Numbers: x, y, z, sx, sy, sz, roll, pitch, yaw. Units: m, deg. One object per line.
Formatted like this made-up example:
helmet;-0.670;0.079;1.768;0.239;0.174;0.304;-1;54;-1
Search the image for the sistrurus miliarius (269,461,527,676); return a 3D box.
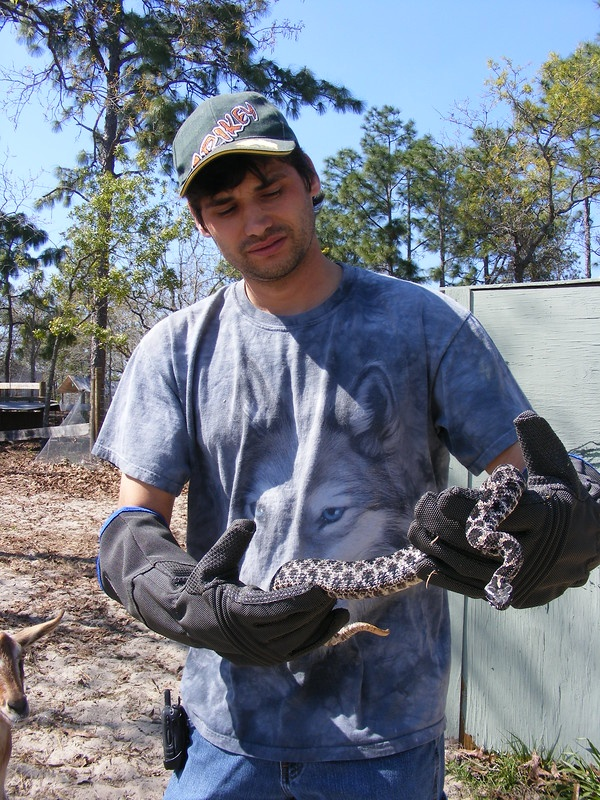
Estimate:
sistrurus miliarius;0.377;0.490;2.556;0.786;0.484;0.323;-34;4;24
